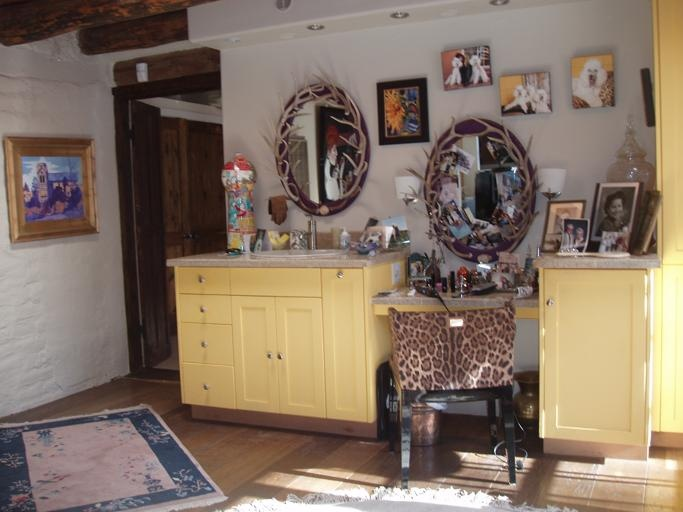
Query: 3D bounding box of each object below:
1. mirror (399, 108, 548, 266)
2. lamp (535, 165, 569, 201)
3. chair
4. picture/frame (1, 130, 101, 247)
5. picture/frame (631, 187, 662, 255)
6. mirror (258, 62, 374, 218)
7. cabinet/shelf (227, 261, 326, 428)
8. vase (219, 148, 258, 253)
[{"bbox_3d":[0.947,-0.485,3.742,1.161,1.101,0.145,2,6,24],"label":"mirror"},{"bbox_3d":[1.352,-0.472,3.499,0.208,0.290,0.192,2,4,22],"label":"lamp"},{"bbox_3d":[0.588,0.671,3.018,0.838,1.270,0.916,-1,10,4],"label":"chair"},{"bbox_3d":[-2.436,-0.556,4.441,0.066,0.979,1.023,2,5,34],"label":"picture/frame"},{"bbox_3d":[1.706,-0.179,3.030,0.085,0.296,0.329,4,5,17],"label":"picture/frame"},{"bbox_3d":[-0.169,-0.907,4.143,1.296,1.381,0.183,1,4,21],"label":"mirror"},{"bbox_3d":[-0.607,0.639,3.864,0.732,0.978,0.652,6,-18,-33],"label":"cabinet/shelf"},{"bbox_3d":[-0.812,-0.413,4.184,0.247,0.741,0.259,-1,7,2],"label":"vase"}]
